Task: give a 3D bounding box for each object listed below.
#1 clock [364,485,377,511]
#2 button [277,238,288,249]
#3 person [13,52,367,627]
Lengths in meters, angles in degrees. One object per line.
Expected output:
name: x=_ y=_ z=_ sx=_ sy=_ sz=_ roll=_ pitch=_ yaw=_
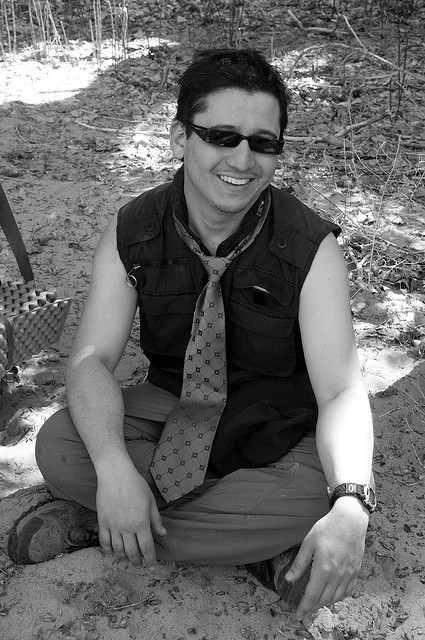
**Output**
clock: x=0.380 y=0.430 z=1.415 sx=0.022 sy=0.058 sz=0.046 roll=-12 pitch=-6 yaw=32
button: x=0.212 y=-0.230 z=1.772 sx=0.033 sy=0.028 sz=0.024 roll=6 pitch=25 yaw=16
person: x=-0.044 y=-0.002 z=1.679 sx=0.979 sy=1.395 sz=0.943 roll=5 pitch=24 yaw=15
